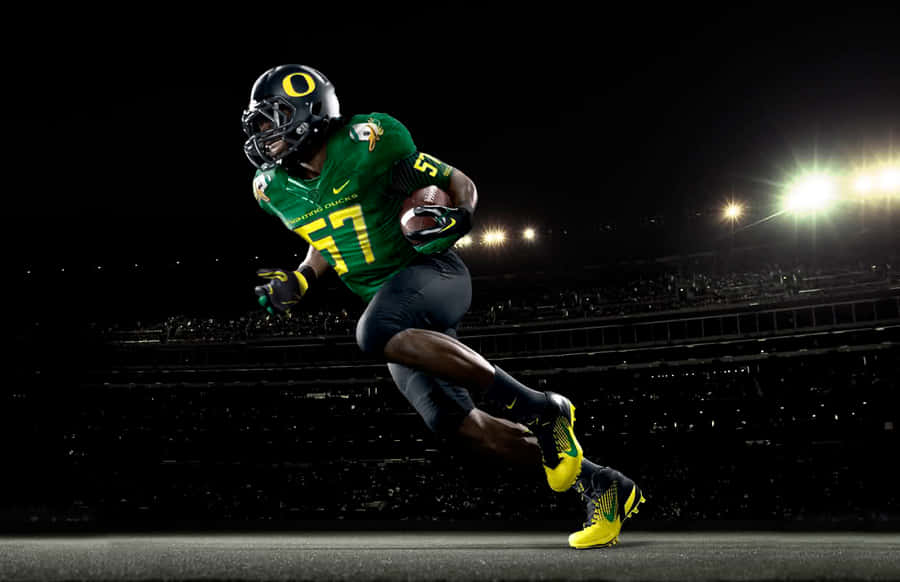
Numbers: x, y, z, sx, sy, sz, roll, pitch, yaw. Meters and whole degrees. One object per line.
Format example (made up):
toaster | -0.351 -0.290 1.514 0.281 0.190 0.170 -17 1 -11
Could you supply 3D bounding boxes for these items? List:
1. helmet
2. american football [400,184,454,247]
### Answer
helmet | -0.589 -0.660 3.251 0.450 0.374 0.325 -6 -9 -28
american football | -0.088 -0.273 2.922 0.139 0.164 0.218 32 4 -16
